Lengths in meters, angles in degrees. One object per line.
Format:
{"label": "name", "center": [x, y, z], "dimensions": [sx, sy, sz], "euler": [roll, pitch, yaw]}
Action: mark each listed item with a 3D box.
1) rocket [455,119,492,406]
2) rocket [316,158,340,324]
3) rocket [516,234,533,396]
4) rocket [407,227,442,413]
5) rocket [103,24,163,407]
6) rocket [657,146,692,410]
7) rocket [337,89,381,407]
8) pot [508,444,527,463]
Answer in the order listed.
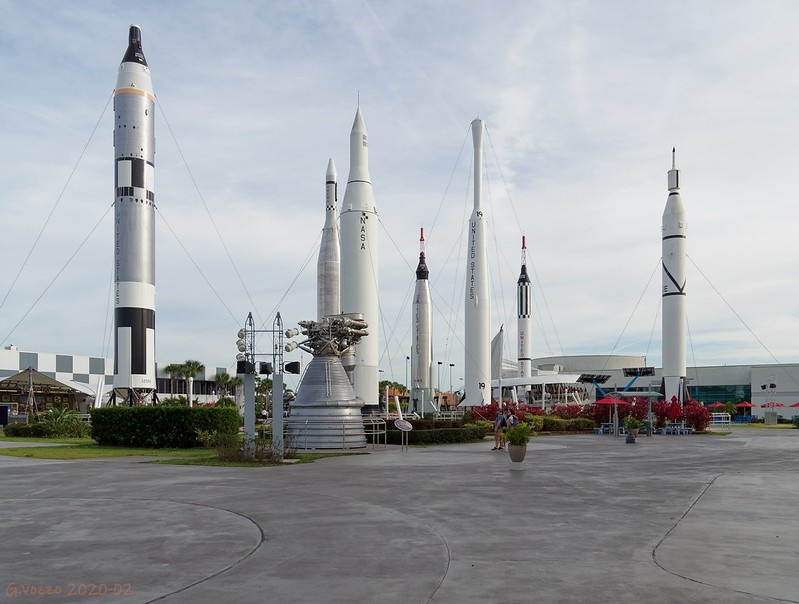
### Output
{"label": "rocket", "center": [6.209, -3.417, 69.598], "dimensions": [1.939, 23.646, 3.409], "euler": [-1, -9, 2]}
{"label": "rocket", "center": [-5.385, -5.318, 64.288], "dimensions": [1.419, 13.036, 11.108], "euler": [0, -9, -5]}
{"label": "rocket", "center": [14.231, 1.185, 97.070], "dimensions": [1.402, 17.969, 9.163], "euler": [-2, -9, 8]}
{"label": "rocket", "center": [1.907, 1.944, 72.964], "dimensions": [1.897, 15.971, 3.838], "euler": [-1, -9, 1]}
{"label": "rocket", "center": [-16.063, -5.682, 50.823], "dimensions": [1.958, 23.461, 2.733], "euler": [-2, -9, 6]}
{"label": "rocket", "center": [21.455, -0.529, 65.913], "dimensions": [1.603, 16.226, 3.049], "euler": [-1, -9, 3]}
{"label": "rocket", "center": [-2.110, -2.480, 44.855], "dimensions": [2.012, 16.412, 1.390], "euler": [3, -10, -21]}
{"label": "pot", "center": [3.820, 4.939, 27.486], "dimensions": [0.580, 0.489, 0.560], "euler": [-1, -7, 0]}
